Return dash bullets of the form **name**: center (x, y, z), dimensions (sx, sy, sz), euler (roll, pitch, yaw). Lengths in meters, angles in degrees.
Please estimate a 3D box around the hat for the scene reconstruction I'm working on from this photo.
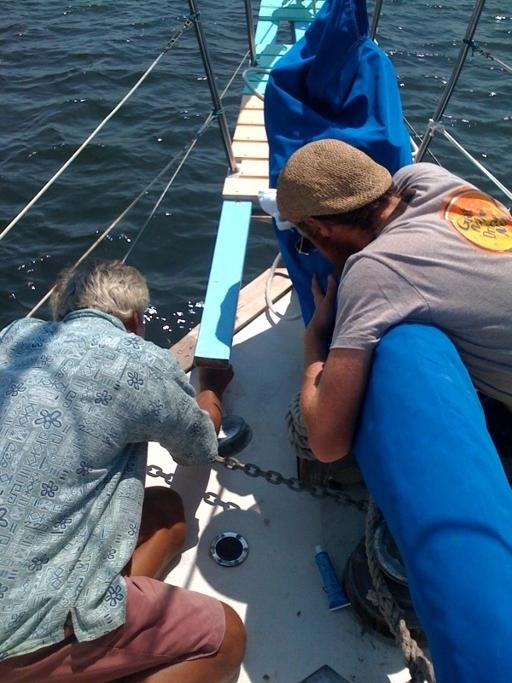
- **hat**: center (0.217, -0.462, 1.824), dimensions (0.348, 0.175, 0.242), euler (12, 48, 48)
